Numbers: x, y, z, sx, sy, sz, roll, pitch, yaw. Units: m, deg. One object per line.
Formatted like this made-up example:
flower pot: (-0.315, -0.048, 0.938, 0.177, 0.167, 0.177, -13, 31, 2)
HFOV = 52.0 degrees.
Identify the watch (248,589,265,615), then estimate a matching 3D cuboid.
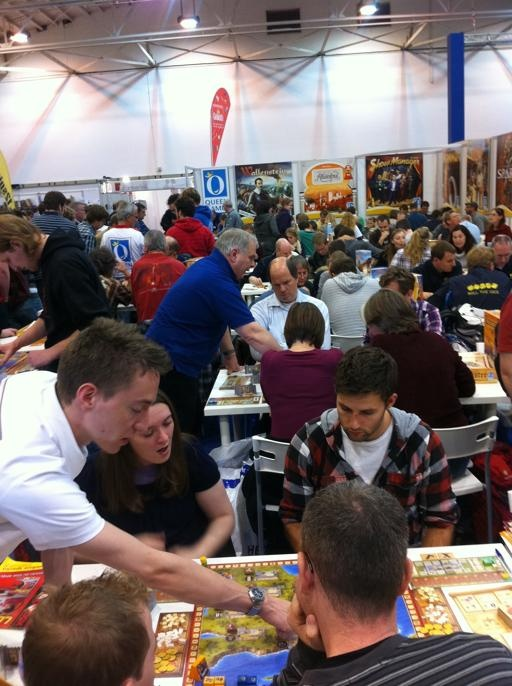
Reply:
watch: (0.000, 0.588, 1.193, 0.031, 0.040, 0.046, 15, 23, 2)
